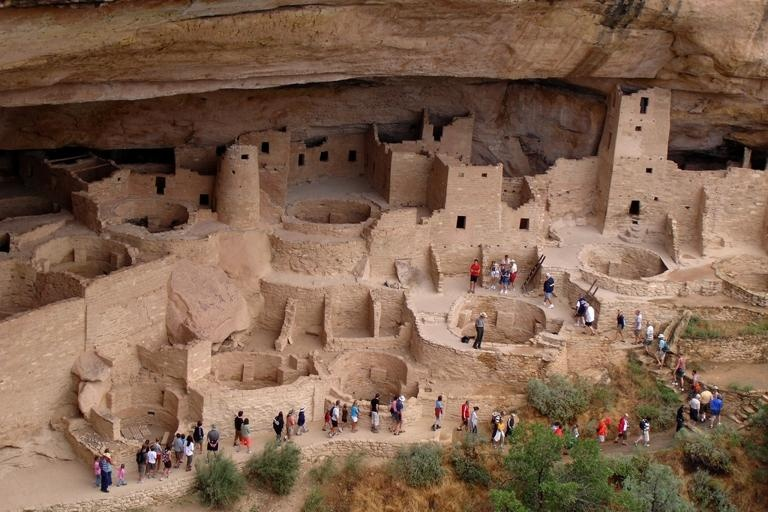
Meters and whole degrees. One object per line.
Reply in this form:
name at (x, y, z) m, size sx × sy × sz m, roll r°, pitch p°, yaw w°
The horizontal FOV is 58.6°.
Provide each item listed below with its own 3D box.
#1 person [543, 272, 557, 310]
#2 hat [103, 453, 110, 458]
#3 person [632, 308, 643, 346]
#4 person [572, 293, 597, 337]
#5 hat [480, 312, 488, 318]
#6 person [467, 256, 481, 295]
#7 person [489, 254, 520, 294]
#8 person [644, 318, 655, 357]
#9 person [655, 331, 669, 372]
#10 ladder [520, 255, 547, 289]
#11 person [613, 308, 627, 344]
person at (5.473, 1.143, 22.675) m, size 0.369 × 1.151 × 0.950 m, roll 0°, pitch -5°, yaw 14°
hat at (-6.758, 4.870, 16.626) m, size 0.142 × 0.127 × 0.238 m, roll 3°, pitch -5°, yaw -21°
person at (7.839, 2.167, 21.037) m, size 0.294 × 1.057 × 1.012 m, roll 0°, pitch -5°, yaw 20°
person at (6.378, 1.880, 21.539) m, size 0.598 × 1.174 × 0.733 m, roll 0°, pitch -5°, yaw 14°
hat at (3.205, 1.892, 21.908) m, size 0.293 × 0.069 × 0.261 m, roll -1°, pitch 11°, yaw -20°
person at (3.134, 0.658, 23.580) m, size 0.421 × 1.248 × 1.089 m, roll 1°, pitch -5°, yaw 8°
person at (4.084, 0.659, 23.614) m, size 0.843 × 1.287 × 0.807 m, roll 1°, pitch -5°, yaw 1°
person at (8.124, 2.525, 20.880) m, size 0.331 × 0.914 × 0.788 m, roll -1°, pitch -5°, yaw 20°
person at (8.296, 2.839, 20.301) m, size 0.317 × 0.944 × 0.384 m, roll 0°, pitch -5°, yaw 20°
ladder at (5.161, 0.590, 23.681) m, size 0.838 × 1.223 × 0.571 m, roll -1°, pitch -6°, yaw 28°
person at (7.360, 2.147, 21.190) m, size 0.267 × 0.993 × 0.791 m, roll 0°, pitch -5°, yaw 20°
